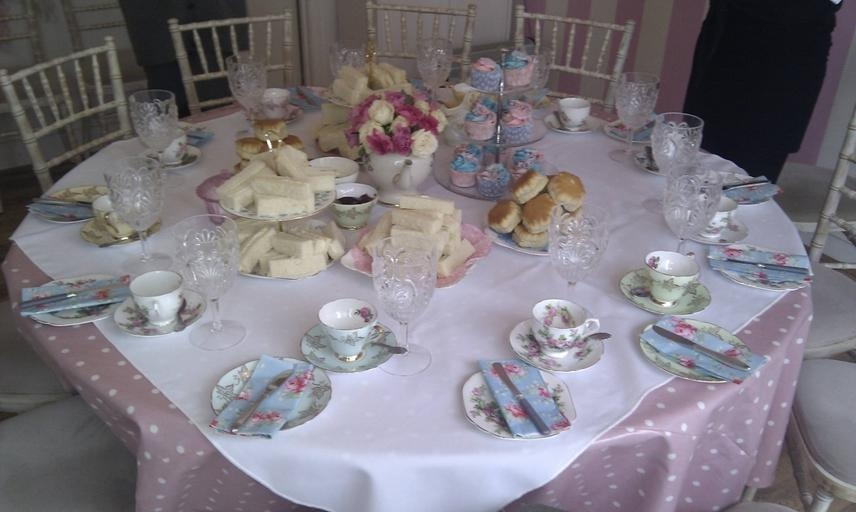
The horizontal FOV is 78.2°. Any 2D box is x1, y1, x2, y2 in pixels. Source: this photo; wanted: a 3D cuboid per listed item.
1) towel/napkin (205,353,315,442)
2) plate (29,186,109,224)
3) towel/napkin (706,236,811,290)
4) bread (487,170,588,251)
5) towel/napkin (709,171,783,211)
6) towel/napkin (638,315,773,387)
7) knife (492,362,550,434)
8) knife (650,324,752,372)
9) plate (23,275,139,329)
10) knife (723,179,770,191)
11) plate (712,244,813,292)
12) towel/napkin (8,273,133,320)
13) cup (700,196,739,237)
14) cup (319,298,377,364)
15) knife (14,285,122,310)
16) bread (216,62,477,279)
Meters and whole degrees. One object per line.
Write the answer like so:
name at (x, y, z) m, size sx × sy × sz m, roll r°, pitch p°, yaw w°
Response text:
towel/napkin at (-0.425, 0.375, 1.383) m, size 0.153 × 0.049 × 0.206 m, roll 11°, pitch 47°, yaw 15°
plate at (-1.368, -0.199, 2.001) m, size 0.218 × 0.038 × 0.209 m, roll 8°, pitch 32°, yaw 1°
towel/napkin at (1.118, 0.027, 1.744) m, size 0.224 × 0.035 × 0.187 m, roll 1°, pitch 28°, yaw -4°
bread at (0.398, -0.189, 1.859) m, size 0.322 × 0.125 × 0.270 m, roll -45°, pitch 55°, yaw -14°
towel/napkin at (1.247, -0.252, 2.055) m, size 0.257 × 0.064 × 0.267 m, roll -10°, pitch 32°, yaw 18°
towel/napkin at (0.790, 0.249, 1.488) m, size 0.223 × 0.032 × 0.186 m, roll 26°, pitch 41°, yaw 28°
knife at (0.246, 0.357, 1.438) m, size 0.052 × 0.037 × 0.330 m, roll -12°, pitch 37°, yaw -9°
knife at (0.780, 0.269, 1.507) m, size 0.230 × 0.017 × 0.033 m, roll 26°, pitch 56°, yaw 19°
plate at (-1.093, 0.132, 1.627) m, size 0.200 × 0.030 × 0.205 m, roll 24°, pitch 35°, yaw 28°
knife at (1.272, -0.279, 2.082) m, size 0.176 × 0.044 × 0.044 m, roll -6°, pitch -6°, yaw -14°
plate at (1.116, 0.039, 1.755) m, size 0.225 × 0.044 × 0.190 m, roll 11°, pitch 34°, yaw 7°
towel/napkin at (-1.104, 0.111, 1.626) m, size 0.258 × 0.051 × 0.146 m, roll -4°, pitch 33°, yaw -27°
cup at (1.024, -0.134, 1.841) m, size 0.112 × 0.079 × 0.110 m, roll 1°, pitch 31°, yaw 0°
cup at (-0.220, 0.189, 1.476) m, size 0.197 × 0.131 × 0.163 m, roll -4°, pitch 31°, yaw -5°
knife at (-1.075, 0.132, 1.626) m, size 0.311 × 0.038 × 0.109 m, roll -4°, pitch 40°, yaw -16°
bread at (-0.290, -0.313, 1.964) m, size 0.761 × 0.184 × 0.747 m, roll 2°, pitch 47°, yaw 4°
